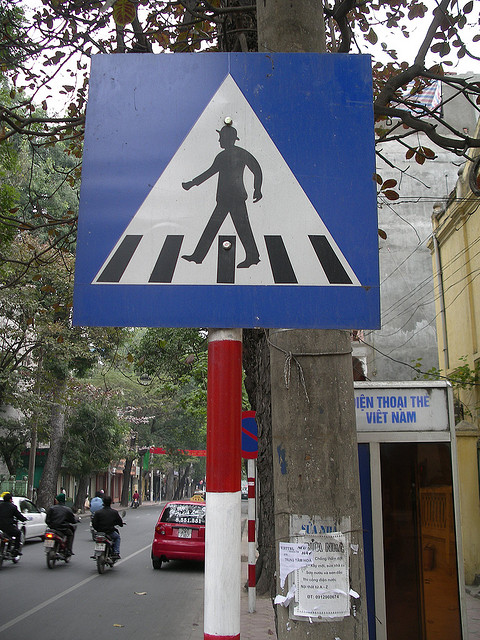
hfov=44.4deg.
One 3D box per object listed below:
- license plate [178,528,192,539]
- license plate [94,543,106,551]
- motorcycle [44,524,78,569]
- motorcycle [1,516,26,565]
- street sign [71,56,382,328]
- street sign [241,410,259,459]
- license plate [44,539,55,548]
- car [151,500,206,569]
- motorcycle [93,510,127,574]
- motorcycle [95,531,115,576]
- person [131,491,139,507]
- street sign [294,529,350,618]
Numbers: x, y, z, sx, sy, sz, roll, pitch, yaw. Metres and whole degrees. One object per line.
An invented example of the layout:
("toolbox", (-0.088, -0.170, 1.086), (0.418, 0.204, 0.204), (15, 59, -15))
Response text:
("license plate", (-1.243, 4.855, 13.404), (0.172, 0.218, 0.024), (2, -27, -2))
("license plate", (-3.044, 4.876, 12.669), (0.178, 0.175, 0.375), (14, -21, -41))
("motorcycle", (-4.159, 5.123, 13.290), (0.358, 0.841, 0.806), (-1, -15, 5))
("motorcycle", (-5.129, 4.983, 13.146), (0.428, 0.713, 0.935), (-1, -10, 1))
("street sign", (-0.040, -0.338, 1.626), (0.584, 0.762, 0.057), (-1, -17, 0))
("street sign", (0.153, 1.635, 8.510), (0.221, 0.710, 0.507), (0, -14, 1))
("license plate", (-4.252, 4.938, 13.043), (0.289, 0.170, 0.137), (-6, -15, 21))
("car", (-1.372, 5.067, 13.832), (1.292, 1.424, 0.969), (-2, -14, 11))
("motorcycle", (-3.065, 5.018, 13.051), (0.664, 1.221, 1.561), (-1, -16, -2))
("motorcycle", (-2.948, 4.991, 12.693), (0.317, 0.840, 0.884), (1, -15, -1))
("person", (-9.199, 15.704, 51.654), (0.336, 1.290, 3.077), (4, -17, -16))
("street sign", (0.256, 0.782, 1.872), (0.196, 0.366, 0.033), (-1, 13, 10))
